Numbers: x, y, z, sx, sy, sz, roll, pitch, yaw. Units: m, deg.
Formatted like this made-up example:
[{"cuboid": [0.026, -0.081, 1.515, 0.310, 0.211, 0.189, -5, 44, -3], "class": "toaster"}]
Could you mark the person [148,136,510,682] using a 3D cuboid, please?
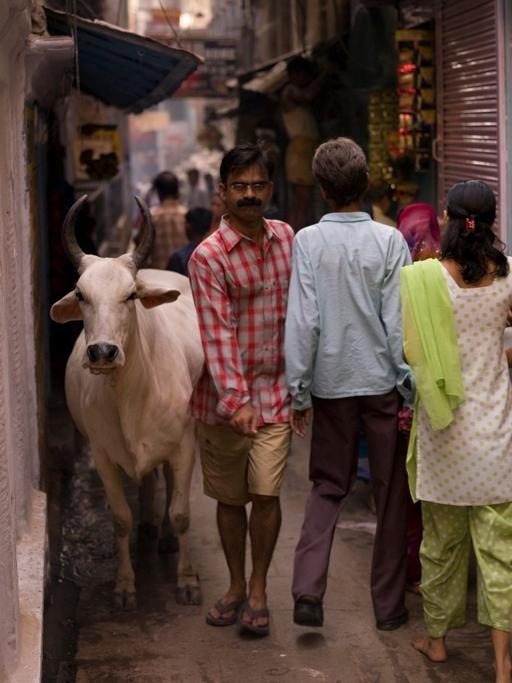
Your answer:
[{"cuboid": [0.211, 0.201, 3.294, 0.897, 1.968, 0.546, 0, 9, 11], "class": "person"}]
